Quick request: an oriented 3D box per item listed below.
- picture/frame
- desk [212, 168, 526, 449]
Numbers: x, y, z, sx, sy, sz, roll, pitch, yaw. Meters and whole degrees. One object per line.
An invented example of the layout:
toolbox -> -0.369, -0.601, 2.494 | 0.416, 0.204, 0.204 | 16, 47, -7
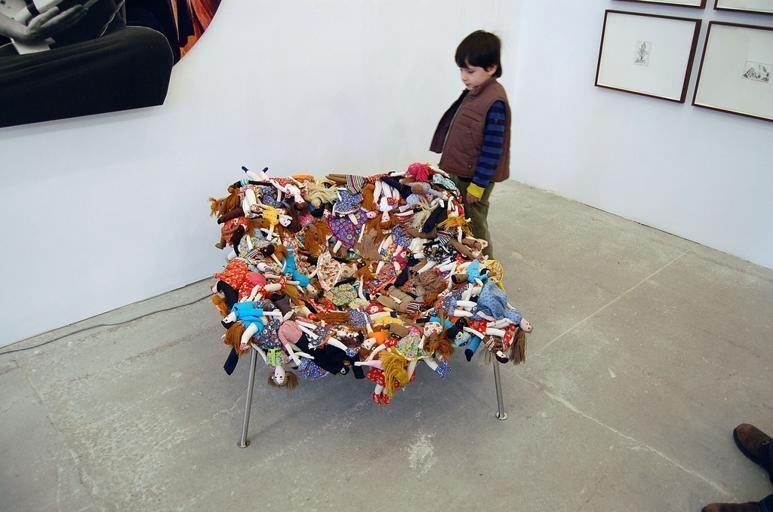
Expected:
picture/frame -> 2.208, -1.433, 3.789 | 0.100, 0.644, 1.320 | -26, 37, -37
desk -> -0.156, 0.124, 2.924 | 1.600, 1.014, 1.141 | -6, 29, -8
